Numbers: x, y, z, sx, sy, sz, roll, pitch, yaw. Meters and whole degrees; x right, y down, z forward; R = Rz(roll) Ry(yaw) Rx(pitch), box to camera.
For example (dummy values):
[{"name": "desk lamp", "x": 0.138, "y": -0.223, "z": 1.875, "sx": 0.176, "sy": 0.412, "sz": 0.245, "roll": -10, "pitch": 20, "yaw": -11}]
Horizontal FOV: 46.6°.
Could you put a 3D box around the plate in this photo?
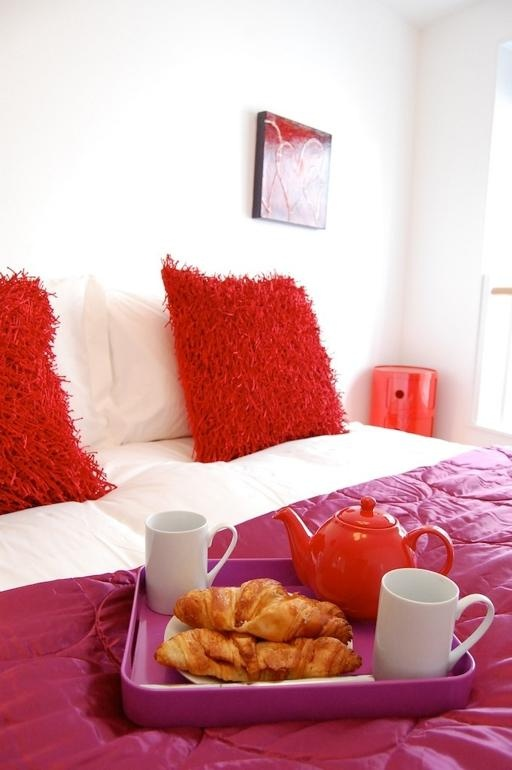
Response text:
[{"name": "plate", "x": 0.003, "y": 0.223, "z": 0.558, "sx": 0.121, "sy": 0.044, "sz": 0.093, "roll": 0, "pitch": 4, "yaw": 1}]

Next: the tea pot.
[{"name": "tea pot", "x": 0.129, "y": 0.204, "z": 0.714, "sx": 0.193, "sy": 0.149, "sz": 0.136, "roll": 5, "pitch": 0, "yaw": 22}]

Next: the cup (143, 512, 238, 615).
[{"name": "cup", "x": -0.073, "y": 0.202, "z": 0.680, "sx": 0.097, "sy": 0.098, "sz": 0.062, "roll": 3, "pitch": 10, "yaw": 12}]

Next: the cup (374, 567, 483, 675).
[{"name": "cup", "x": 0.166, "y": 0.227, "z": 0.547, "sx": 0.093, "sy": 0.093, "sz": 0.060, "roll": 2, "pitch": 11, "yaw": 17}]

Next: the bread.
[{"name": "bread", "x": 0.000, "y": 0.228, "z": 0.557, "sx": 0.122, "sy": 0.044, "sz": 0.098, "roll": 0, "pitch": 6, "yaw": 0}]
